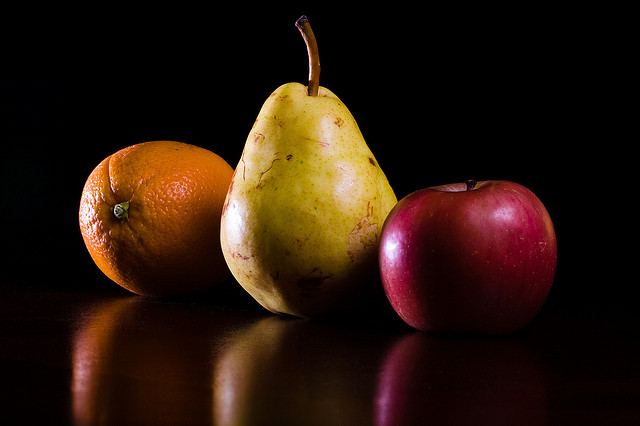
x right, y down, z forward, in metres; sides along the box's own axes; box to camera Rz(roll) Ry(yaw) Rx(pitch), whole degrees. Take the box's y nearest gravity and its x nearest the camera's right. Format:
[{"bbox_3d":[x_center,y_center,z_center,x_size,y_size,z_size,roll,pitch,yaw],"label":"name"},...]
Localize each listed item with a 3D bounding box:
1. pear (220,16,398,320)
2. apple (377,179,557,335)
[{"bbox_3d":[-0.005,-0.077,1.108,0.273,0.435,0.305,13,28,10],"label":"pear"},{"bbox_3d":[0.262,0.067,1.067,0.252,0.219,0.246,-1,-4,-32],"label":"apple"}]
